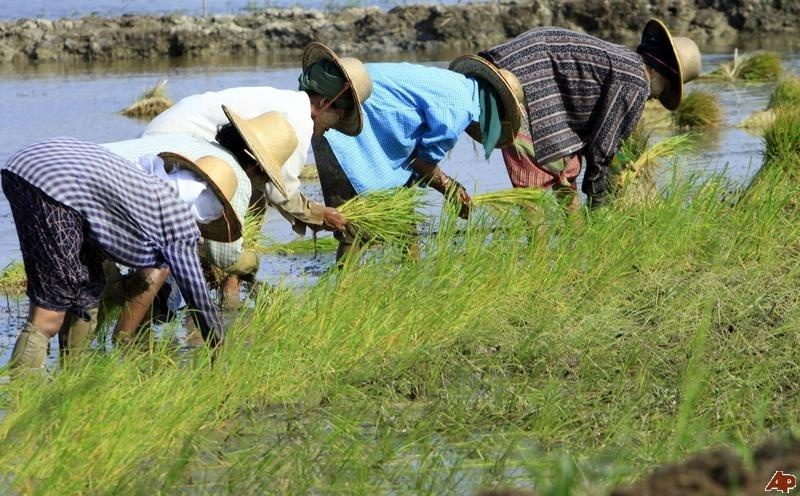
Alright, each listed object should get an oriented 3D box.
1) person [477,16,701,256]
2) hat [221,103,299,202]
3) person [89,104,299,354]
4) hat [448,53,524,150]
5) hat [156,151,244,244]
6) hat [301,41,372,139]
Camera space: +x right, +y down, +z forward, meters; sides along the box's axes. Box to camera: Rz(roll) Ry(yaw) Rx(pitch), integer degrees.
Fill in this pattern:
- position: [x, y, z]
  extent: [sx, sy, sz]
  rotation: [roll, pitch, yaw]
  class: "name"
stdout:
- position: [1.717, -1.334, 10.911]
  extent: [2.233, 1.622, 1.080]
  rotation: [4, 19, -16]
  class: "person"
- position: [-1.083, -0.865, 9.464]
  extent: [0.329, 0.694, 0.669]
  rotation: [-39, -11, -7]
  class: "hat"
- position: [-1.699, -0.430, 9.353]
  extent: [1.866, 1.603, 0.804]
  rotation: [-32, -7, -11]
  class: "person"
- position: [0.738, -1.252, 10.348]
  extent: [0.730, 0.764, 0.194]
  rotation: [20, 38, 37]
  class: "hat"
- position: [-1.575, -0.612, 9.290]
  extent: [0.666, 0.640, 0.270]
  rotation: [29, 68, 33]
  class: "hat"
- position: [-0.446, -1.496, 10.157]
  extent: [0.267, 0.850, 0.819]
  rotation: [-28, -12, -6]
  class: "hat"
